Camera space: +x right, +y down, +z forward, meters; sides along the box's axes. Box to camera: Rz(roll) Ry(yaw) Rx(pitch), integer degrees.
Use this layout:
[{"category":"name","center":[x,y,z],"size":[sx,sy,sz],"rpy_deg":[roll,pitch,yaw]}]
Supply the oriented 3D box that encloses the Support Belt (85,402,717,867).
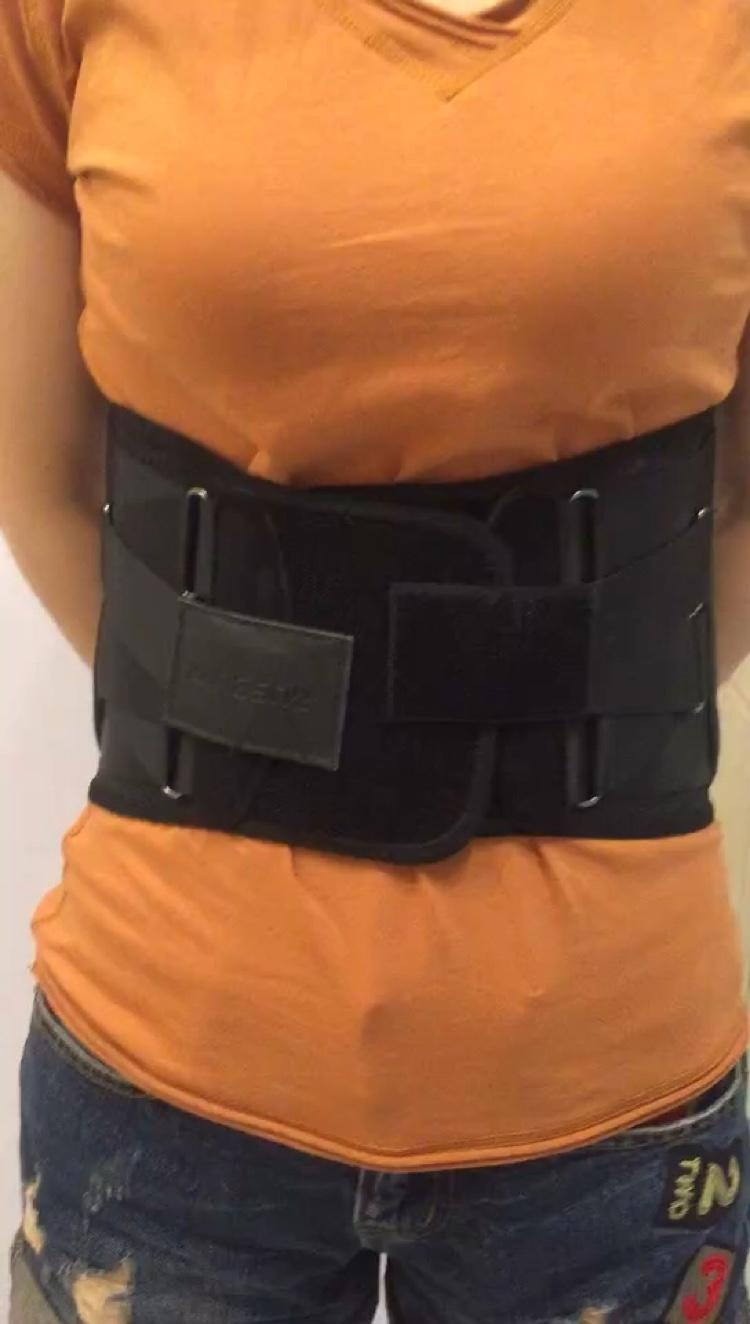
[{"category":"Support Belt","center":[0.016,-0.033,0.848],"size":[0.431,0.259,0.279],"rpy_deg":[2,101,9]}]
